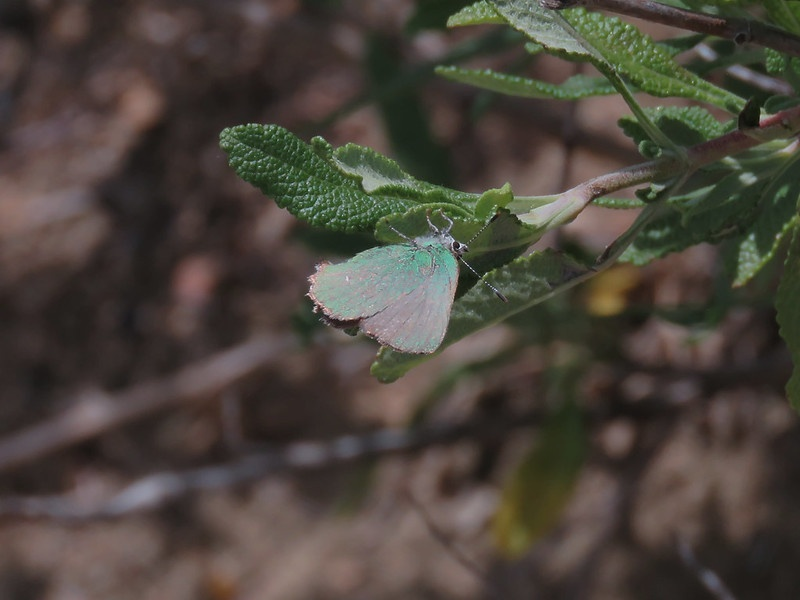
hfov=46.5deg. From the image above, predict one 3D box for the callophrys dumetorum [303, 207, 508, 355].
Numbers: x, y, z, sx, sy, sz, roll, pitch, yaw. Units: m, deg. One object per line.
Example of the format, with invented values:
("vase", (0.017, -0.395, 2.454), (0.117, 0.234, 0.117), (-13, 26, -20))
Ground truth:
("callophrys dumetorum", (0.028, -0.038, 1.705), (0.291, 0.279, 0.195), (41, 4, 10))
